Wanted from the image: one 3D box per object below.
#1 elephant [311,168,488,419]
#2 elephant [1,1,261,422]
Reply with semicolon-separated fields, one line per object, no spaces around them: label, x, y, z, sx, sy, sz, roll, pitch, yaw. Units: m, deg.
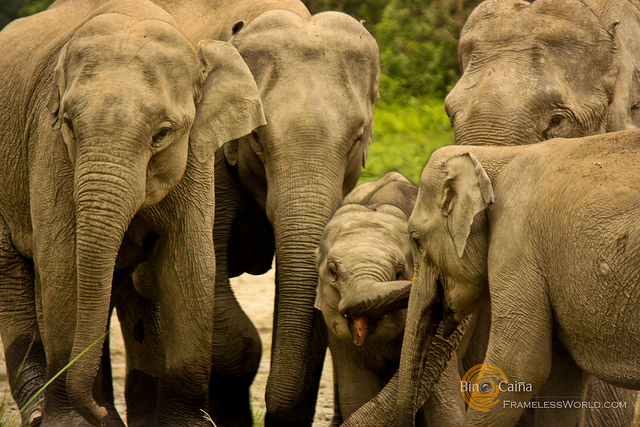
elephant;0.391;0.388;5.410;0.693;1.129;1.587;-1;8;16
elephant;-1.099;0.020;5.097;1.200;2.158;1.047;8;11;38
